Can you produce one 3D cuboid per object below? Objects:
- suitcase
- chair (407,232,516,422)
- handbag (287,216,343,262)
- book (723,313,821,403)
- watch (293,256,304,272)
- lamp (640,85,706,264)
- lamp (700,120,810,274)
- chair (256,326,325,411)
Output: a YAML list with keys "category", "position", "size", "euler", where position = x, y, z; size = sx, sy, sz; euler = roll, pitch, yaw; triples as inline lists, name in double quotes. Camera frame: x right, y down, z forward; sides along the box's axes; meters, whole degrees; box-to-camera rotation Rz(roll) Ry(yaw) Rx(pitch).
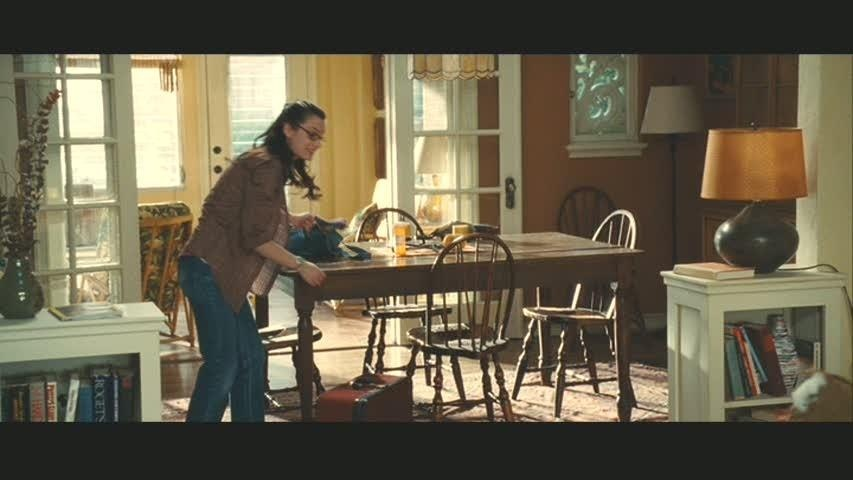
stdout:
- category: "suitcase"
  position: [-0.386, 0.918, 4.800]
  size: [0.379, 0.218, 0.363]
  euler: [3, -3, -31]
- category: "chair"
  position: [0.223, 0.579, 5.411]
  size: [0.696, 1.270, 1.313]
  euler: [-1, 2, 1]
- category: "handbag"
  position: [-0.714, 0.024, 4.998]
  size: [0.314, 0.285, 0.128]
  euler: [1, 7, -3]
- category: "book"
  position: [2.042, 0.728, 4.727]
  size: [0.458, 0.570, 0.201]
  euler: [-1, 4, -5]
- category: "watch"
  position: [-0.753, 0.147, 4.645]
  size: [0.059, 0.082, 0.086]
  euler: [6, -1, -3]
- category: "lamp"
  position: [2.034, -0.549, 6.544]
  size: [0.492, 1.499, 0.277]
  euler: [-1, 3, 7]
- category: "lamp"
  position: [2.038, -0.230, 4.941]
  size: [0.665, 0.879, 0.648]
  euler: [-3, 3, -32]
- category: "chair"
  position: [-0.915, 0.860, 5.296]
  size: [0.537, 0.439, 0.619]
  euler: [-1, -2, 1]
